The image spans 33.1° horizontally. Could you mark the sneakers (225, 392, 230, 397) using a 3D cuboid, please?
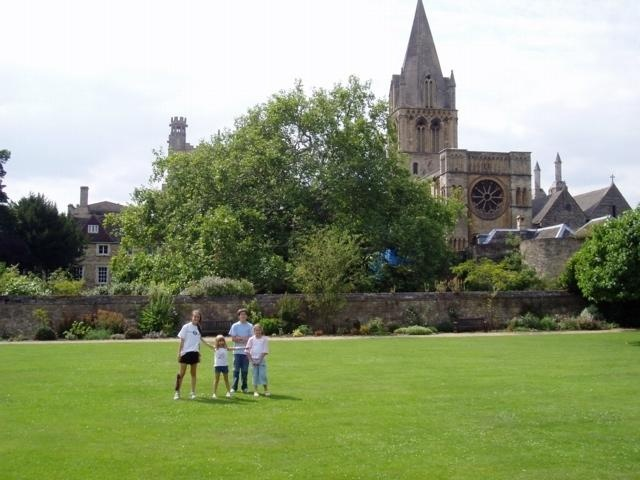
[{"bbox_3d":[-2.799,4.693,32.416,0.068,0.187,0.125,3,33,11],"label":"sneakers"}]

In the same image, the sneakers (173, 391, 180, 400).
[{"bbox_3d":[-4.294,4.592,31.923,0.194,0.201,0.409,-2,7,-9],"label":"sneakers"}]

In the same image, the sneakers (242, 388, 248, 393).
[{"bbox_3d":[-2.320,4.621,32.951,0.147,0.105,0.197,0,-5,-17],"label":"sneakers"}]

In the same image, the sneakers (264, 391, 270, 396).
[{"bbox_3d":[-1.632,4.630,32.448,0.127,0.065,0.217,-2,3,1],"label":"sneakers"}]
